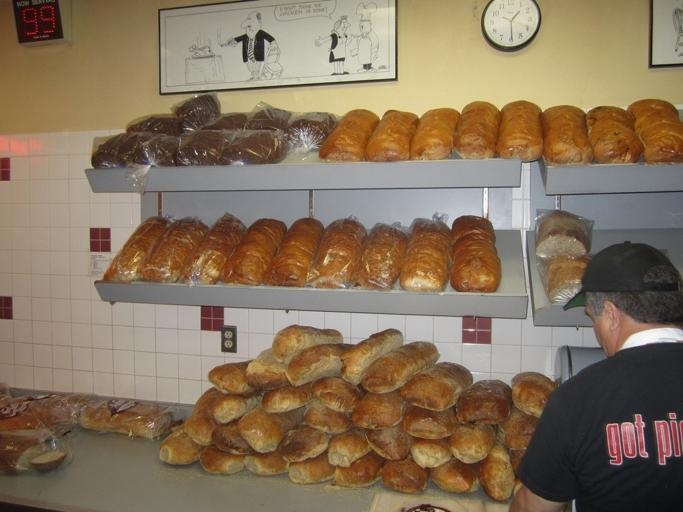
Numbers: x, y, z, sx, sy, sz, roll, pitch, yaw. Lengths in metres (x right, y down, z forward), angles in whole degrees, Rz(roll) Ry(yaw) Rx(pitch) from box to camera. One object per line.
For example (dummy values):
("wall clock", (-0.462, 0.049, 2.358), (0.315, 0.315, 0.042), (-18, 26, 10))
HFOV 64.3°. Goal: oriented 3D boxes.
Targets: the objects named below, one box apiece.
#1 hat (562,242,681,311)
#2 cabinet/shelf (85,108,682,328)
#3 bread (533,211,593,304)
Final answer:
("hat", (0.945, 0.061, 1.802), (0.180, 0.150, 0.241), (24, -28, -37))
("cabinet/shelf", (-0.024, -0.162, 2.302), (2.249, 0.784, 0.286), (0, 7, 11))
("bread", (0.912, -0.011, 2.224), (0.201, 0.397, 0.126), (2, -32, 9))
